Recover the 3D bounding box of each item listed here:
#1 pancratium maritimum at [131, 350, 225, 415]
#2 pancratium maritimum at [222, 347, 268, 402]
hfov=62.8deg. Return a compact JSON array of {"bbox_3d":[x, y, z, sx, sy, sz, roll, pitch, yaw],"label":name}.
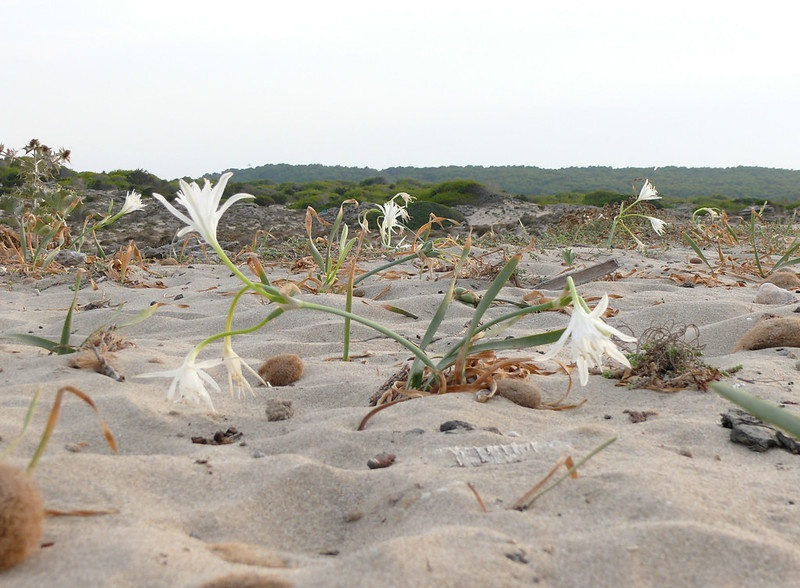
[{"bbox_3d":[-0.782,0.314,2.263,0.214,0.140,0.216,24,9,10],"label":"pancratium maritimum"},{"bbox_3d":[-0.587,0.312,2.461,0.129,0.117,0.237,-22,49,-32],"label":"pancratium maritimum"}]
